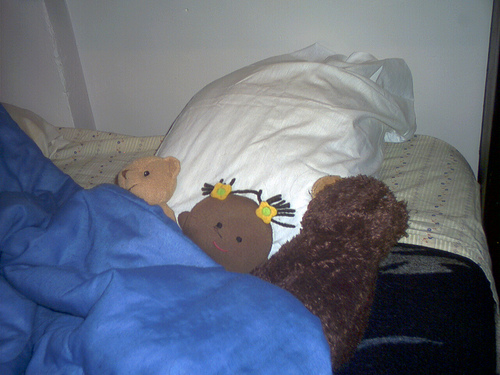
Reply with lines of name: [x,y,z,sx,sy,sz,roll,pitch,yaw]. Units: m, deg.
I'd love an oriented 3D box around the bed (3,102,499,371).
bed: [-0.064,0.389,1.607,1.524,0.391,1.007,17,50,6]

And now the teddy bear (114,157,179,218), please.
teddy bear: [-0.296,0.006,1.208,0.119,0.100,0.138,9,62,29]

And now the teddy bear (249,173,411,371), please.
teddy bear: [0.231,0.198,1.101,0.331,0.177,0.490,24,78,27]
